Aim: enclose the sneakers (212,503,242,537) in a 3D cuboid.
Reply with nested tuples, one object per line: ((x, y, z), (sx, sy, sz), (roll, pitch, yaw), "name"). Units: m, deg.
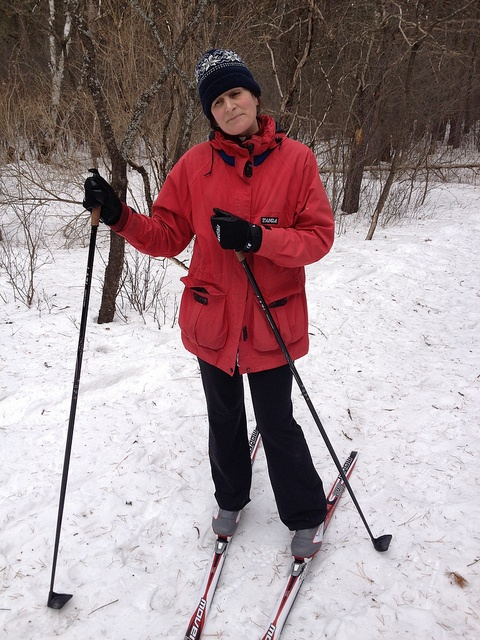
((-0.072, 0.984, 2.818), (0.064, 0.088, 0.197), (9, 25, 2), "sneakers")

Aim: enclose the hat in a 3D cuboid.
((-0.065, -1.014, 2.408), (0.218, 0.251, 0.260), (-21, 4, 4), "hat")

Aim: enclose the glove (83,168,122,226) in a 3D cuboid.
((-0.615, -0.505, 2.445), (0.158, 0.095, 0.219), (-21, -5, 21), "glove")

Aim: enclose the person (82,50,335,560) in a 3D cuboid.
((-0.088, 0.011, 2.544), (0.867, 2.193, 0.652), (1, 12, 13), "person")
